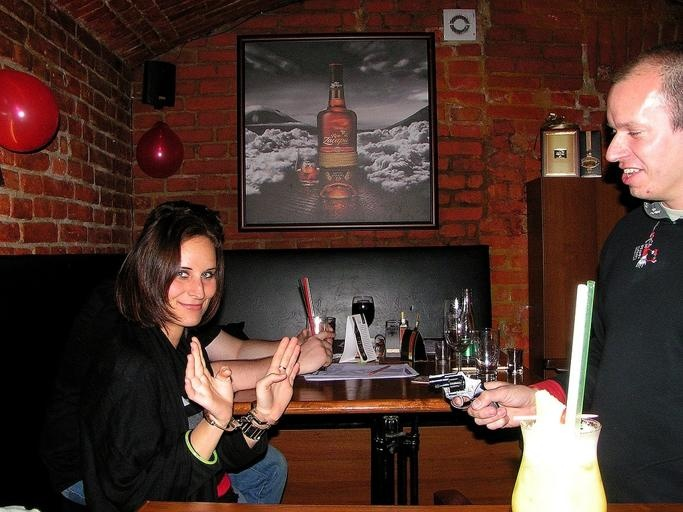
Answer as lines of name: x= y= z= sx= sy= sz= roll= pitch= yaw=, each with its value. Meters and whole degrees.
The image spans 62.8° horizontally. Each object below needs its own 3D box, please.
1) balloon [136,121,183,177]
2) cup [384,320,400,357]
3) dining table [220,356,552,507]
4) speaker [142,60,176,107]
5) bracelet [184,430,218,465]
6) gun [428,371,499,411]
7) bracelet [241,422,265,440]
balloon: x=-1.191 y=-0.704 z=3.690 sx=0.278 sy=0.357 sz=0.228 roll=-1 pitch=-5 yaw=2
cup: x=0.257 y=0.411 z=2.770 sx=0.076 sy=0.174 sz=0.117 roll=-1 pitch=-5 yaw=4
dining table: x=0.134 y=0.723 z=2.287 sx=1.218 sy=0.508 sz=0.606 roll=-1 pitch=-1 yaw=0
speaker: x=-1.177 y=-1.122 z=3.671 sx=0.169 sy=0.268 sz=0.245 roll=-2 pitch=-5 yaw=13
bracelet: x=-0.441 y=0.595 z=1.749 sx=0.093 sy=0.097 sz=0.035 roll=-21 pitch=-19 yaw=-42
gun: x=0.392 y=0.449 z=1.834 sx=0.250 sy=0.158 sz=0.046 roll=-6 pitch=-39 yaw=25
bracelet: x=-0.282 y=0.564 z=1.824 sx=0.066 sy=0.045 sz=0.063 roll=15 pitch=-9 yaw=21
